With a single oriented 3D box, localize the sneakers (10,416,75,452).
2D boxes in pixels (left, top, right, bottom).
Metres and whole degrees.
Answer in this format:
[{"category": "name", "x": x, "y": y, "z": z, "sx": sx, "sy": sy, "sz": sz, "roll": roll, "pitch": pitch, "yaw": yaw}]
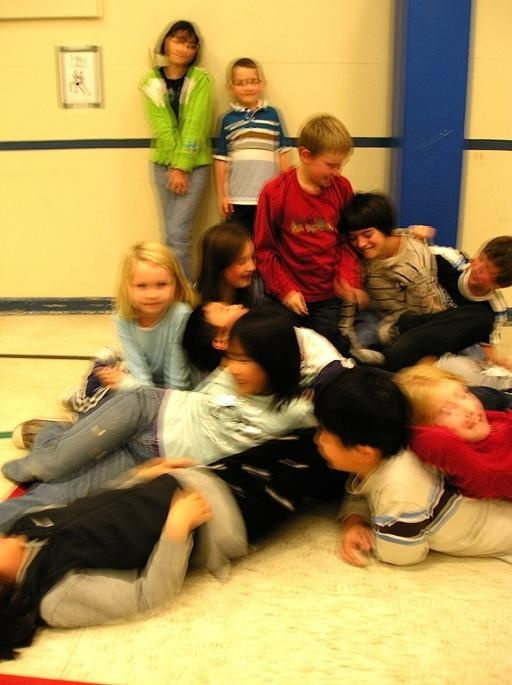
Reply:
[{"category": "sneakers", "x": -0.569, "y": 0.242, "z": 1.493, "sx": 0.133, "sy": 0.049, "sz": 0.093, "roll": -6, "pitch": 4, "yaw": -2}]
